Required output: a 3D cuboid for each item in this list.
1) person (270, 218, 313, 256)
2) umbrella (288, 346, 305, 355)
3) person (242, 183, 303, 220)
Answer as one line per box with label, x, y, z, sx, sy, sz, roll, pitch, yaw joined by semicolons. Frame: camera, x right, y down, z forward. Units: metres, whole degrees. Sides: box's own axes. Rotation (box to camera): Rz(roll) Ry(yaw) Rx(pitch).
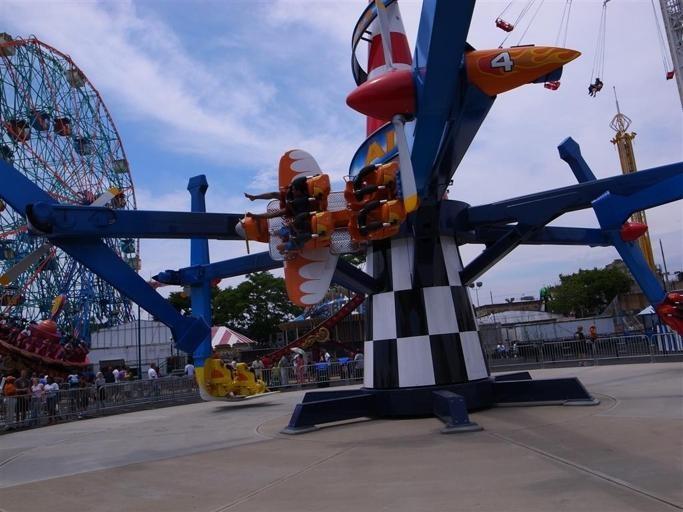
person;-0.867;-0.353;8.919;0.366;0.570;0.827;-1;-9;-40
umbrella;-2.190;4.566;24.382;0.769;0.338;0.963;10;-12;-41
person;-1.025;-0.926;9.017;1.140;0.622;0.499;-10;-7;25
